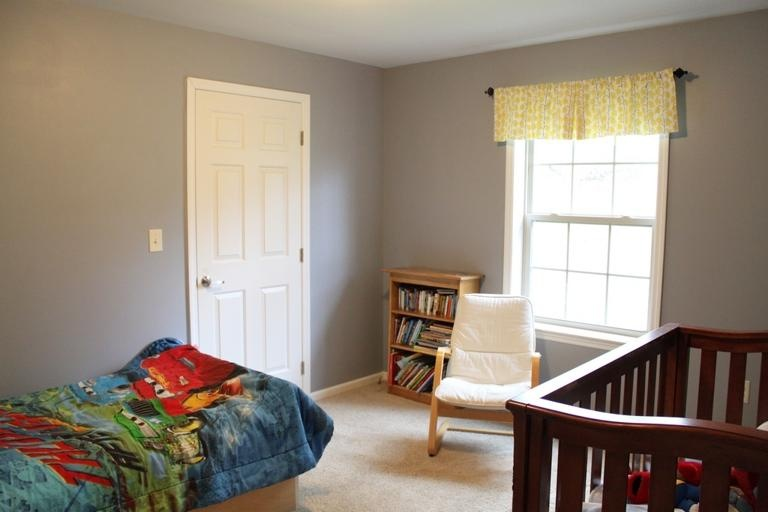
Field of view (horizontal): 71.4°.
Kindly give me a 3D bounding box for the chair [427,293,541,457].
[{"bbox_3d":[0.799,0.884,4.102,0.756,1.127,1.000,2,-3,14],"label":"chair"}]
